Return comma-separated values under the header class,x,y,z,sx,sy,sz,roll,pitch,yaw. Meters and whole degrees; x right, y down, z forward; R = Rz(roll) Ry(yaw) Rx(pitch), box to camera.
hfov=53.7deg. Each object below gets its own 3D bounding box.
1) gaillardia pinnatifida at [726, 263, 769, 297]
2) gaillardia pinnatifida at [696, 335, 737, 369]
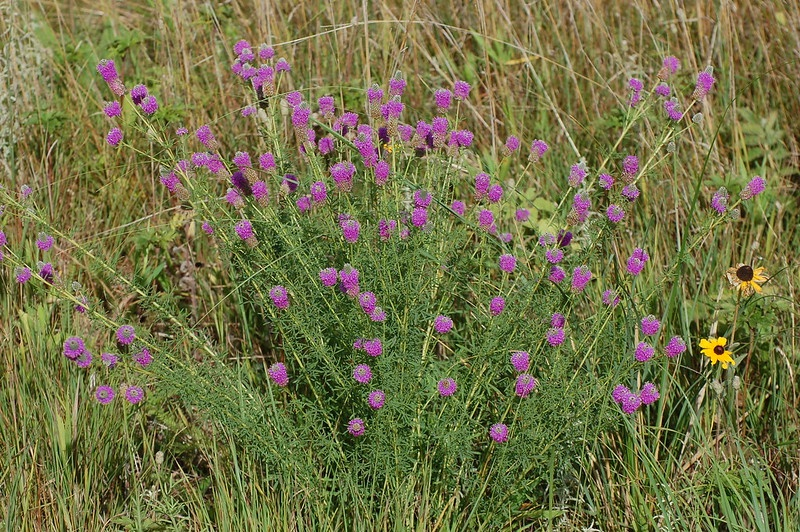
class,x,y,z,sx,sy,sz,roll,pitch,yaw
gaillardia pinnatifida,1.628,0.084,3.696,0.158,0.057,0.167,34,60,26
gaillardia pinnatifida,1.464,0.412,3.645,0.157,0.044,0.165,41,83,9
